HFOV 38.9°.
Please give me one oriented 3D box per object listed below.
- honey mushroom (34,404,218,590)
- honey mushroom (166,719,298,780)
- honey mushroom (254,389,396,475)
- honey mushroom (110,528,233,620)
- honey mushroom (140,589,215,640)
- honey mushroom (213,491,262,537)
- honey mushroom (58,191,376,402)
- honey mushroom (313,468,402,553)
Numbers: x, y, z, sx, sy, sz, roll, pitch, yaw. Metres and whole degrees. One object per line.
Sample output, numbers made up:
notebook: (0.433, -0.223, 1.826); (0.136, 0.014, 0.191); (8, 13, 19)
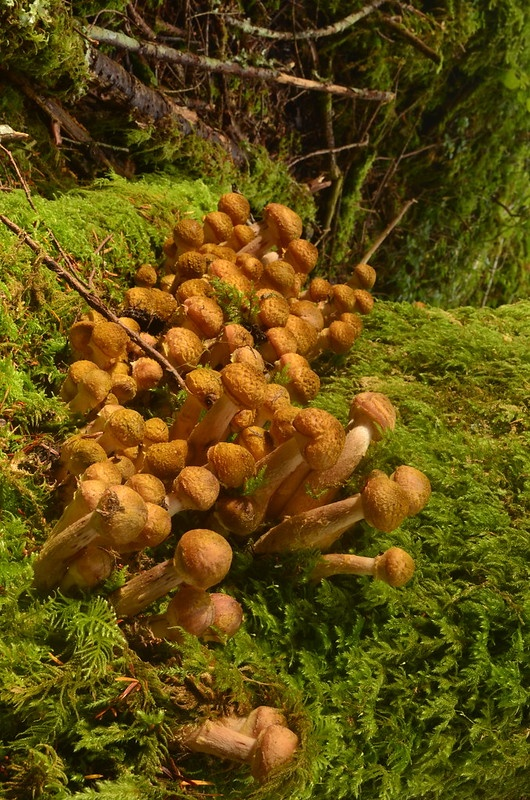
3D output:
honey mushroom: (-0.380, 0.290, 2.116); (0.317, 0.474, 0.383); (51, -6, -23)
honey mushroom: (-0.085, 0.917, 2.029); (0.305, 0.135, 0.117); (8, 58, 14)
honey mushroom: (0.183, 0.110, 2.352); (0.136, 0.143, 0.342); (37, 15, 14)
honey mushroom: (-0.232, 0.475, 2.019); (0.178, 0.385, 0.158); (-6, 54, -47)
honey mushroom: (-0.237, 0.588, 2.041); (0.104, 0.149, 0.109); (48, 39, -13)
honey mushroom: (-0.093, 0.358, 2.279); (0.134, 0.130, 0.075); (44, 19, -25)
honey mushroom: (-0.170, -0.332, 2.733); (1.135, 0.381, 0.689); (-39, 114, -32)
honey mushroom: (0.279, 0.346, 2.278); (0.132, 0.323, 0.134); (50, 58, -3)
